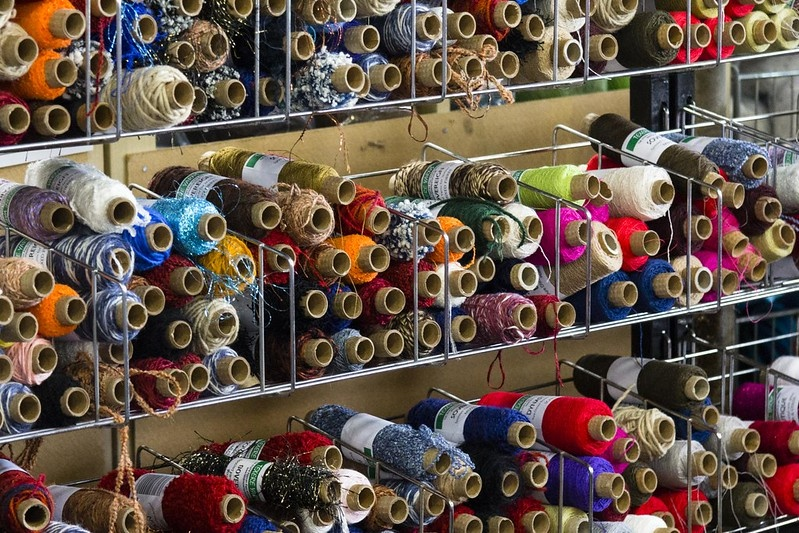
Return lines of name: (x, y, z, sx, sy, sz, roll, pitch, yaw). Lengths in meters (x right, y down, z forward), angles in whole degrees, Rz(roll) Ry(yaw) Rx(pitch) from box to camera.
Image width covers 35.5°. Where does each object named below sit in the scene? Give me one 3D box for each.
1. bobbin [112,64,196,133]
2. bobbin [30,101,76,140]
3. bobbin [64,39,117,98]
bobbin: (-0.357, -0.229, 1.798, 0.086, 0.098, 0.135, 7, 2, -29)
bobbin: (-0.477, -0.197, 1.735, 0.045, 0.047, 0.050, 19, -9, -42)
bobbin: (-0.432, -0.281, 1.779, 0.062, 0.081, 0.076, -5, 12, -36)
